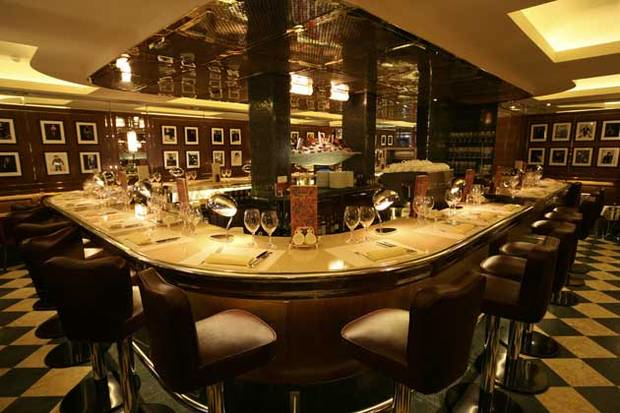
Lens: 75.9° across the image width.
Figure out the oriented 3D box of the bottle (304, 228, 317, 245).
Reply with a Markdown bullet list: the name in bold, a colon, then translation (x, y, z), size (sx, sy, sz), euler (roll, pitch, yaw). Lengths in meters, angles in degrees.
- **bottle**: translation (0.000, 0.319, 4.286), size (0.143, 0.173, 0.126), euler (-5, 10, -13)

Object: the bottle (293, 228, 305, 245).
- **bottle**: translation (-0.124, 0.323, 4.298), size (0.141, 0.176, 0.157), euler (-1, 10, 9)

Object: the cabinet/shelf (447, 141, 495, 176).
- **cabinet/shelf**: translation (4.028, -1.164, 9.499), size (0.464, 1.039, 1.283), euler (-13, 13, -35)

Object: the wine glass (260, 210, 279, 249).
- **wine glass**: translation (-0.449, 0.236, 4.335), size (0.168, 0.390, 0.301), euler (-4, 10, -7)

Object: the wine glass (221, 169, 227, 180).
- **wine glass**: translation (-2.060, -0.770, 9.510), size (0.140, 0.183, 0.370), euler (-5, 9, -13)

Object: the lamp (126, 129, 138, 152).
- **lamp**: translation (-4.276, -1.559, 9.545), size (0.247, 0.517, 0.075), euler (-9, 12, -33)

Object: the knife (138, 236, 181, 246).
- **knife**: translation (-1.672, 0.391, 4.384), size (0.393, 0.052, 0.122), euler (-6, 15, -20)

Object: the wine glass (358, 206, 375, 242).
- **wine glass**: translation (0.639, 0.174, 4.447), size (0.162, 0.379, 0.330), euler (-1, 10, 8)

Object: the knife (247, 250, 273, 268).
- **knife**: translation (-0.511, 0.525, 3.987), size (0.079, 0.044, 0.334), euler (19, 16, 16)

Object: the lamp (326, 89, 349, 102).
- **lamp**: translation (0.523, -2.013, 7.274), size (0.350, 0.154, 0.528), euler (-2, 8, 4)

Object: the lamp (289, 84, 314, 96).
- **lamp**: translation (-0.140, -2.020, 6.884), size (0.358, 0.090, 0.619), euler (-2, 8, 4)

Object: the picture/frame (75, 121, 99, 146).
- **picture/frame**: translation (-5.020, -1.638, 8.876), size (0.040, 0.459, 0.548), euler (2, 14, 33)
